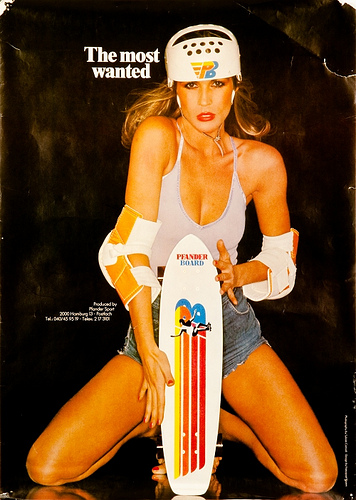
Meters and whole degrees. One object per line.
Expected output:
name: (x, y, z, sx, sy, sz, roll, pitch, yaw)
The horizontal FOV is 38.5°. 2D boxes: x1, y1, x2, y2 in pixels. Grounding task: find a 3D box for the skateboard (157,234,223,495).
skateboard: (0.053, 0.393, 1.813, 0.242, 0.909, 0.133, 0, 7, -3)
